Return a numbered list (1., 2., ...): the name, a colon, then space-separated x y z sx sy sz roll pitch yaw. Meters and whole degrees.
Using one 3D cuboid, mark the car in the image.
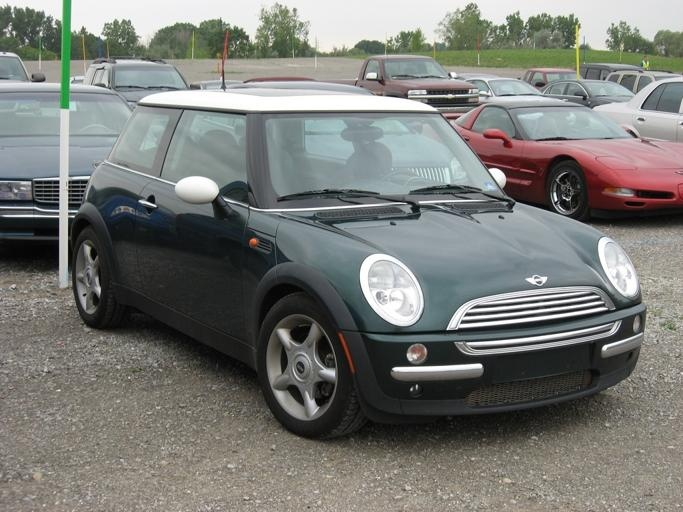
1. car: -0.267 -0.110 3.785 2.221 1.439 3.756 -3 7 -41
